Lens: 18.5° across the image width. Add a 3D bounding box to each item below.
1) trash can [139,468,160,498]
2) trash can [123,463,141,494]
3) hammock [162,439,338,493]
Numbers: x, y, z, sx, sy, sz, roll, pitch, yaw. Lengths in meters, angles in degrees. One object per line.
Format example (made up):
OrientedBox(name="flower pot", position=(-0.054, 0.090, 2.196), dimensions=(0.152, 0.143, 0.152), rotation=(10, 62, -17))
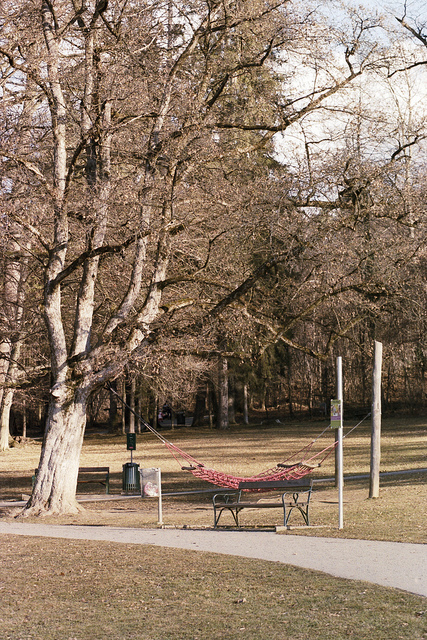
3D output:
OrientedBox(name="trash can", position=(-1.015, 2.602, 21.060), dimensions=(0.277, 0.421, 0.416), rotation=(-1, -7, 0))
OrientedBox(name="trash can", position=(-1.682, 3.253, 26.987), dimensions=(0.439, 0.913, 0.484), rotation=(0, -1, -1))
OrientedBox(name="hammock", position=(0.536, 2.384, 21.693), dimensions=(2.586, 1.024, 1.614), rotation=(0, -7, -2))
